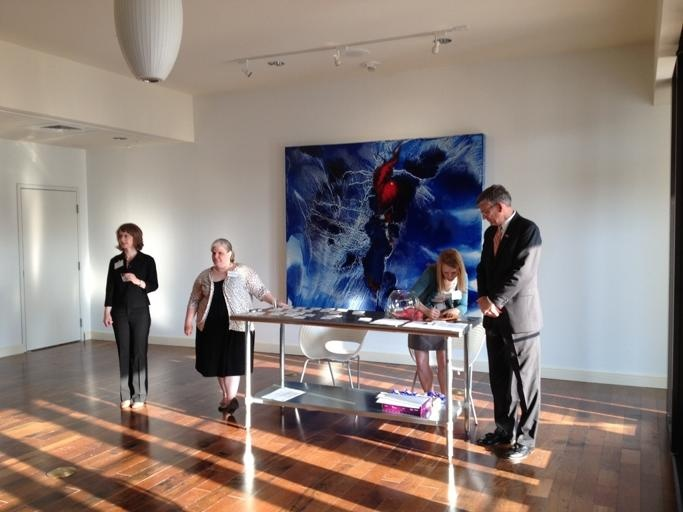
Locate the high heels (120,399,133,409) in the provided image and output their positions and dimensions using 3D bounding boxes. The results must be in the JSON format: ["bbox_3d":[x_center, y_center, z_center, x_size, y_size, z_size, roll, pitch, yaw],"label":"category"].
[{"bbox_3d":[-2.442,1.689,5.750,0.073,0.046,0.124,2,9,-6],"label":"high heels"}]

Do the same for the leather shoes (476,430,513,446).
[{"bbox_3d":[1.438,1.712,4.727,0.214,0.086,0.145,4,0,12],"label":"leather shoes"}]

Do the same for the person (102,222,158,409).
[{"bbox_3d":[-2.336,0.689,5.639,0.551,2.072,0.446,-2,5,-19],"label":"person"}]

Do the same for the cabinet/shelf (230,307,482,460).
[{"bbox_3d":[0.147,1.209,5.191,2.297,1.237,0.951,1,2,21],"label":"cabinet/shelf"}]

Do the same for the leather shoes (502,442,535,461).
[{"bbox_3d":[1.574,1.720,4.510,0.317,0.128,0.105,-2,-2,-40],"label":"leather shoes"}]

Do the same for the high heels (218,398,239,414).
[{"bbox_3d":[-1.251,1.643,5.610,0.103,0.143,0.312,0,2,-36],"label":"high heels"}]

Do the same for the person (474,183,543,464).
[{"bbox_3d":[1.508,0.568,4.594,0.558,2.403,0.580,1,5,19],"label":"person"}]
